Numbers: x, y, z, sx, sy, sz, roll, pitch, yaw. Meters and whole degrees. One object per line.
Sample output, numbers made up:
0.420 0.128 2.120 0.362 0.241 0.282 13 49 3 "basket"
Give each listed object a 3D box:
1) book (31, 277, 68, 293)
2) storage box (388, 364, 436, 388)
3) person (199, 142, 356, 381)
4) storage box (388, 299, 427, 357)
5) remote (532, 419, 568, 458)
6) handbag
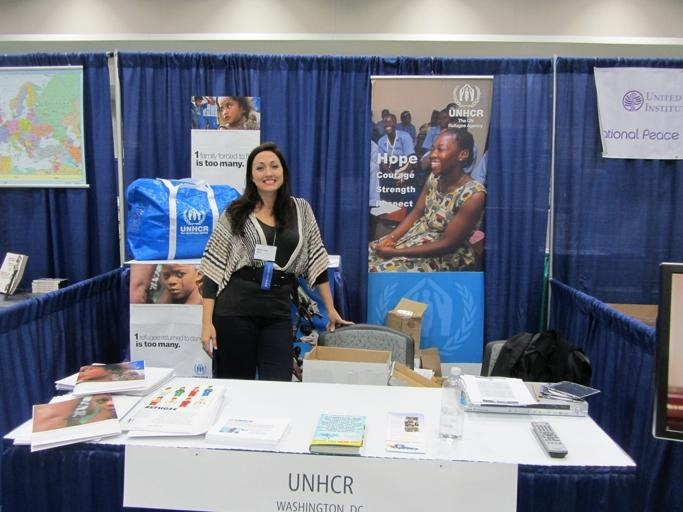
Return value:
-2.243 0.231 4.809 0.252 0.077 0.288 -7 13 -27 "book"
0.364 0.648 3.333 0.146 0.059 0.158 17 -5 17 "storage box"
-0.434 0.029 3.644 0.749 1.335 0.380 -1 11 -3 "person"
0.564 0.591 5.229 0.274 0.457 0.301 15 31 20 "storage box"
0.916 0.811 2.767 0.086 0.048 0.199 4 21 -10 "remote"
-1.247 -0.244 4.699 1.001 0.741 0.553 0 4 -17 "handbag"
